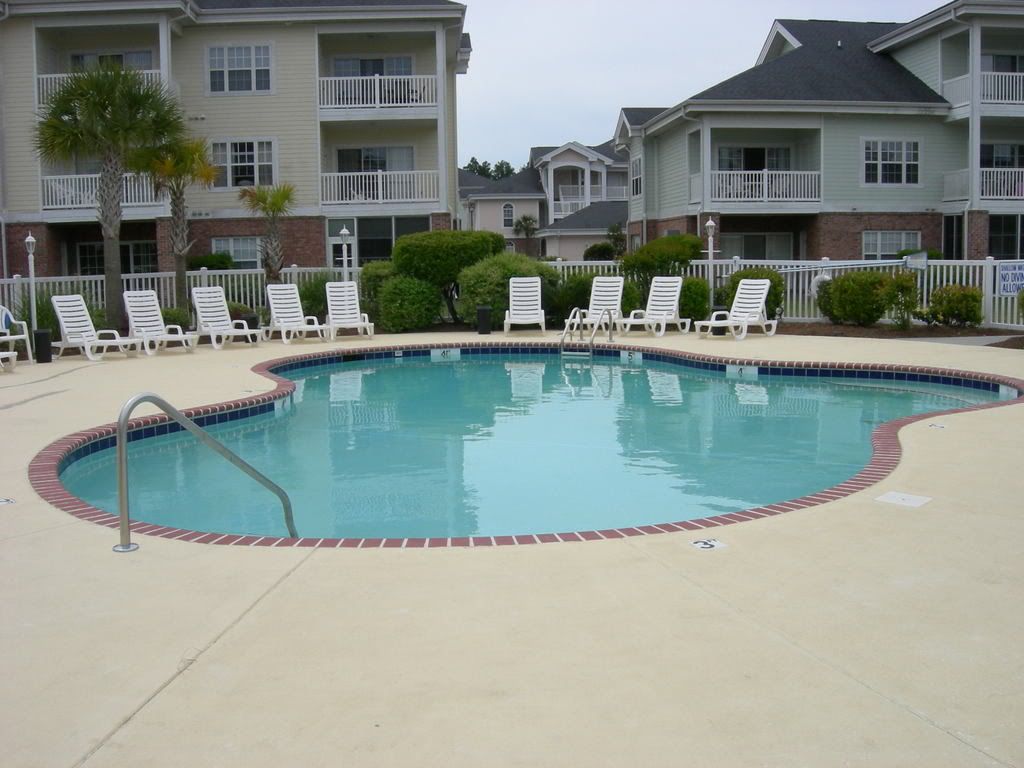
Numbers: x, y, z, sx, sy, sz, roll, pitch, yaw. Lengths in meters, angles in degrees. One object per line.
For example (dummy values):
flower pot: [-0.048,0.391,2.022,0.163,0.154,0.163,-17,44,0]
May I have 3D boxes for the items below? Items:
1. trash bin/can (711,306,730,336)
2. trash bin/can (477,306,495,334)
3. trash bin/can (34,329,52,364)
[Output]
trash bin/can: [4.491,-1.375,20.059,0.534,0.762,0.599,0,0,7]
trash bin/can: [-0.619,-1.473,21.497,0.491,0.798,0.517,0,1,-2]
trash bin/can: [-8.218,-0.681,16.303,0.237,0.592,0.463,-6,10,-30]
